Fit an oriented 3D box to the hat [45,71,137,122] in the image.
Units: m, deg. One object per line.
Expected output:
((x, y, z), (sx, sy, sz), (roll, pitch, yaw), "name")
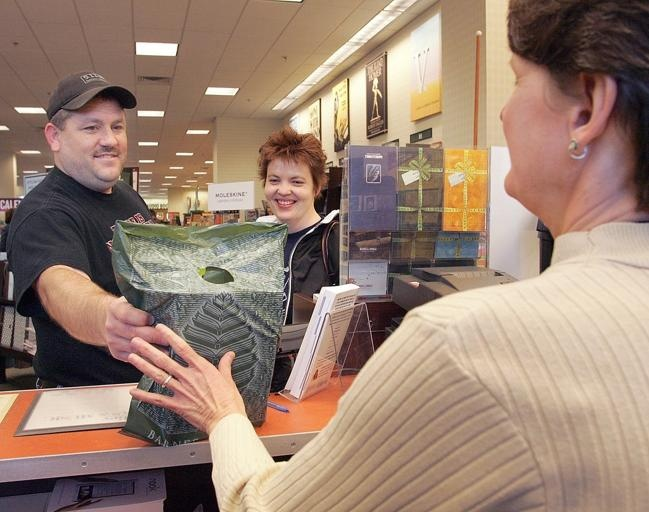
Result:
((-1.002, -0.687, 1.958), (0.320, 0.165, 0.227), (-23, 0, 27), "hat")

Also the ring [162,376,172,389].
((-0.302, 0.242, 0.895), (0.008, 0.020, 0.017), (25, -28, 12), "ring")
